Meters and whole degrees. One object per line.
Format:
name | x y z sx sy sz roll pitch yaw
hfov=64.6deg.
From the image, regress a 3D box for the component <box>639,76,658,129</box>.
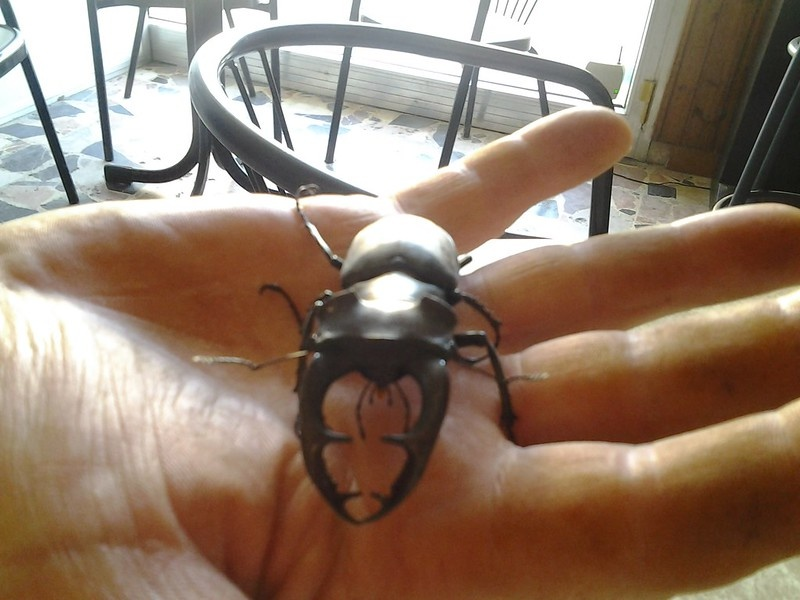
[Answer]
component | 0.752 -0.606 1.927 0.083 0.119 0.026 -20 23 -40
